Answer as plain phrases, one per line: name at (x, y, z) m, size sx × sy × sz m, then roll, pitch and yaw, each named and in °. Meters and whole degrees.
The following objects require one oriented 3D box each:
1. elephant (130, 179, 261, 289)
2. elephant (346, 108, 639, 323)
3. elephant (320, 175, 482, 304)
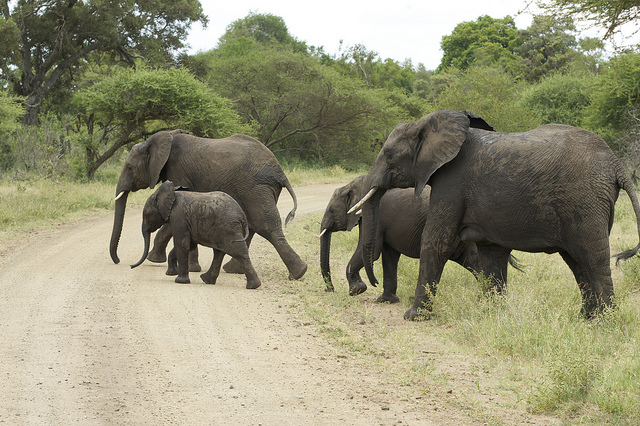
elephant at (-2.321, 0.429, 12.566) m, size 2.533 × 1.935 × 1.115 m, roll 3°, pitch 10°, yaw 18°
elephant at (2.936, 0.135, 10.561) m, size 3.952 × 3.388 × 2.058 m, roll 14°, pitch 20°, yaw 41°
elephant at (1.402, 0.539, 12.111) m, size 3.171 × 2.321 × 1.396 m, roll -3°, pitch 3°, yaw 31°
